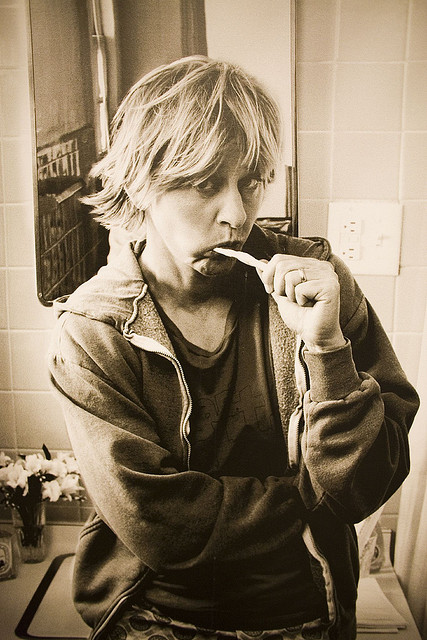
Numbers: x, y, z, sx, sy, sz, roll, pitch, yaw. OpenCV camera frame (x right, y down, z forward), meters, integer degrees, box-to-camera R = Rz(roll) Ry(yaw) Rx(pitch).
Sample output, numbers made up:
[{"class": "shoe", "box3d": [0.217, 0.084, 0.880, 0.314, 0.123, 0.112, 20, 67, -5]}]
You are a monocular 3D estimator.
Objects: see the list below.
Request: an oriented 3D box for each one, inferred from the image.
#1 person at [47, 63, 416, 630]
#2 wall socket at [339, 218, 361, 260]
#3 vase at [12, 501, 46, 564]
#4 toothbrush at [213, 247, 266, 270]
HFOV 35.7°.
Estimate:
[{"class": "person", "box3d": [0.046, 0.081, 1.377, 0.767, 1.185, 0.250, -4, 13, -8]}, {"class": "wall socket", "box3d": [0.288, -0.169, 1.400, 0.047, 0.088, 0.010, 6, 10, 36]}, {"class": "vase", "box3d": [-0.402, 0.464, 1.461, 0.067, 0.160, 0.027, -6, 14, -15]}, {"class": "toothbrush", "box3d": [0.060, -0.127, 1.359, 0.108, 0.044, 0.042, 5, 14, 29]}]
